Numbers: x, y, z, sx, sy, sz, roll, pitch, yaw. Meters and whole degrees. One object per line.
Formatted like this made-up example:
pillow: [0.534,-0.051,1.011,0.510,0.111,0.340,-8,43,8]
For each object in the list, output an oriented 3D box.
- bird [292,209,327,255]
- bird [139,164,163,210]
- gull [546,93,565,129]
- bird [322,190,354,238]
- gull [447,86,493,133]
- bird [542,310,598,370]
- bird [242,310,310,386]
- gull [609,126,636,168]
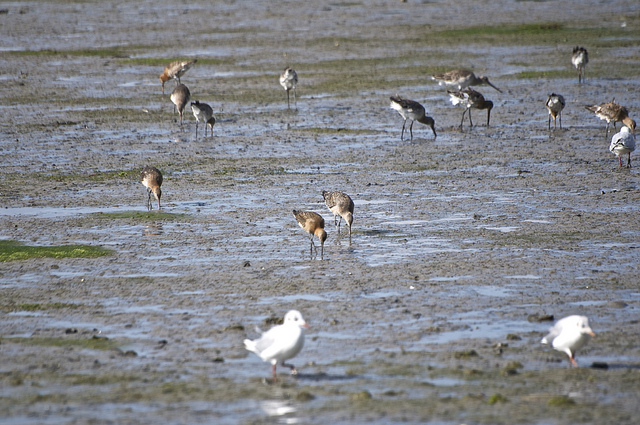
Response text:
bird: [-0.213,0.426,20.950,0.578,0.749,1.226,-6,17,-7]
bird: [-4.209,-0.601,23.999,0.471,0.871,1.023,-7,17,-10]
gull: [7.687,-3.371,31.283,0.490,1.183,1.459,0,17,14]
bird: [0.448,-0.112,21.809,0.400,0.535,1.387,-1,32,-14]
gull: [5.385,-3.883,33.127,0.946,1.481,2.286,-5,8,-35]
bird: [4.271,2.150,16.535,0.612,0.775,1.179,-22,15,-35]
bird: [-0.662,2.192,16.179,1.581,1.183,0.805,-3,2,35]
gull: [8.295,-1.754,26.277,0.613,1.040,0.843,1,18,15]
